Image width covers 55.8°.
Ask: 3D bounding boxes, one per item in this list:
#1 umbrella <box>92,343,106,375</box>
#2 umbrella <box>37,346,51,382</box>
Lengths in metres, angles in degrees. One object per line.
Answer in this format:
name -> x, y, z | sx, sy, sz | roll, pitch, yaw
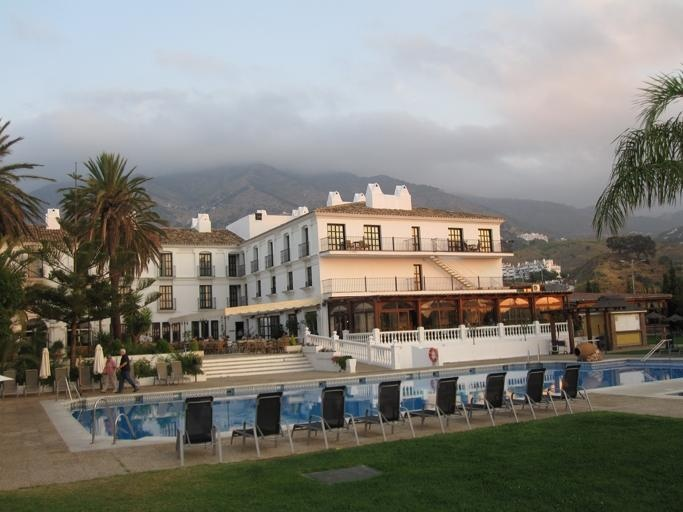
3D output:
umbrella -> -9.891, 4.285, 26.396 | 0.468, 1.210, 1.115 | 0, -5, -21
umbrella -> -11.922, 4.400, 26.023 | 0.451, 1.357, 1.729 | 0, -5, -25
